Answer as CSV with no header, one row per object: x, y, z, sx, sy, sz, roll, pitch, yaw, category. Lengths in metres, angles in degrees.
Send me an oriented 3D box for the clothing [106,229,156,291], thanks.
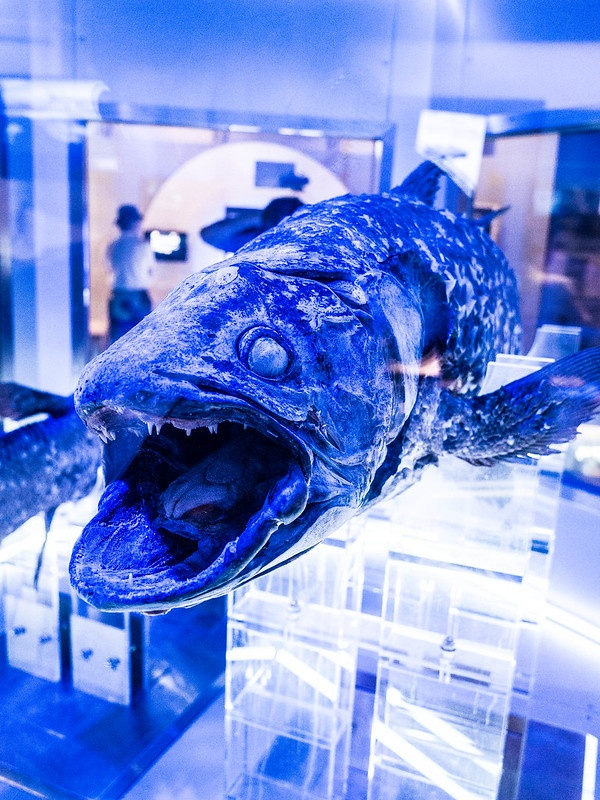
-0.510,-0.414,3.032,0.190,0.208,0.121,2,8,6,clothing

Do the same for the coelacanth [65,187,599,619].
0.135,-0.087,1.905,0.643,0.410,1.186,3,14,35,coelacanth
